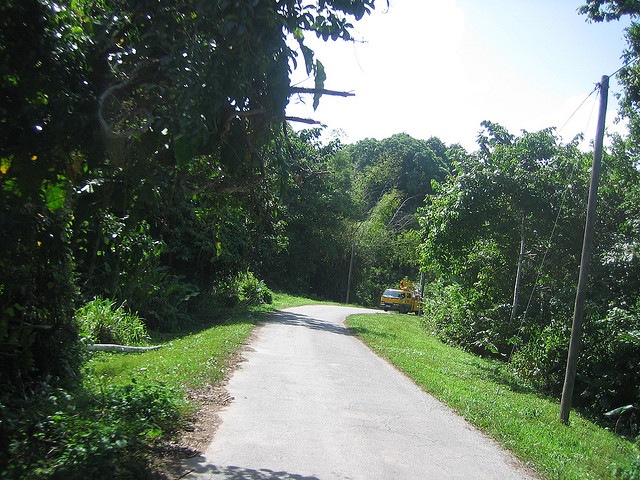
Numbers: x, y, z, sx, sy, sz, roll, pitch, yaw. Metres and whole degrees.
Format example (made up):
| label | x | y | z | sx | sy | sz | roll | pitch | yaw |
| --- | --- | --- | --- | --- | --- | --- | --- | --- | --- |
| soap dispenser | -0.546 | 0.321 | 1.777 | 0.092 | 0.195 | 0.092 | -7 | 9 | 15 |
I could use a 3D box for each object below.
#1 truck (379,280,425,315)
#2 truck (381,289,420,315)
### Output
| label | x | y | z | sx | sy | sz | roll | pitch | yaw |
| --- | --- | --- | --- | --- | --- | --- | --- | --- | --- |
| truck | 8.194 | 5.593 | 49.846 | 2.150 | 3.230 | 5.606 | 5 | -7 | 42 |
| truck | 7.839 | 5.726 | 49.540 | 2.170 | 2.275 | 5.328 | 8 | -3 | 41 |
